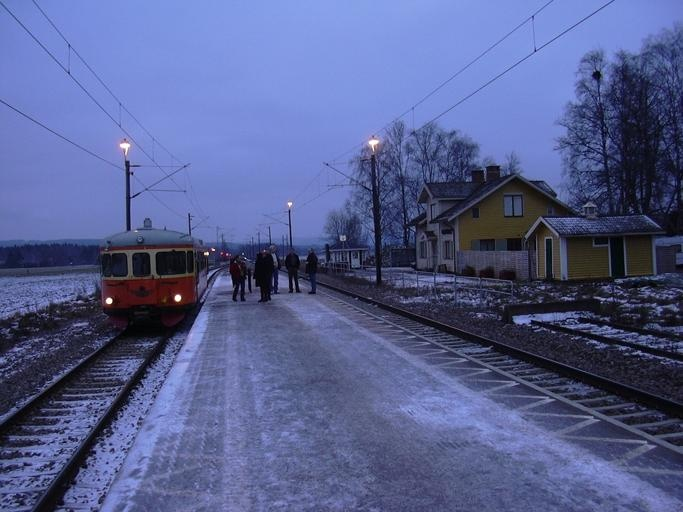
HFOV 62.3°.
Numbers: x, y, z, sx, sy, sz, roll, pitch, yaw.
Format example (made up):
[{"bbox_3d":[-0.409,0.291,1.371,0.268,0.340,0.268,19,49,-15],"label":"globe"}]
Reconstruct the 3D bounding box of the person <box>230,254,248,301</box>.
[{"bbox_3d":[-4.093,0.859,22.463,0.552,1.767,1.450,-2,-2,-11],"label":"person"}]

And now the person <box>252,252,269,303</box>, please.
[{"bbox_3d":[-3.043,0.762,21.638,0.589,1.916,1.495,-2,-2,-8],"label":"person"}]
